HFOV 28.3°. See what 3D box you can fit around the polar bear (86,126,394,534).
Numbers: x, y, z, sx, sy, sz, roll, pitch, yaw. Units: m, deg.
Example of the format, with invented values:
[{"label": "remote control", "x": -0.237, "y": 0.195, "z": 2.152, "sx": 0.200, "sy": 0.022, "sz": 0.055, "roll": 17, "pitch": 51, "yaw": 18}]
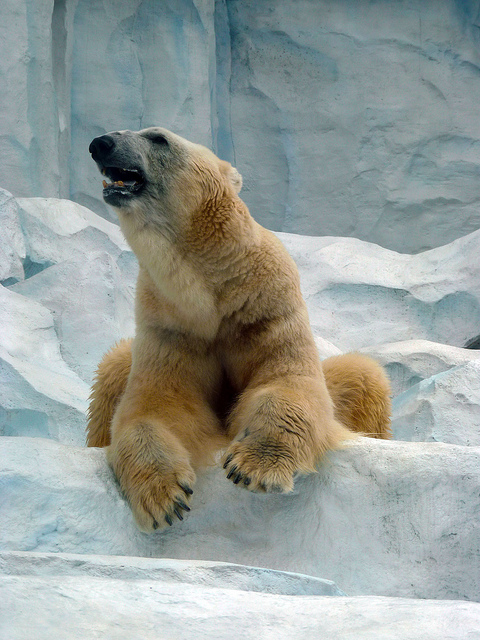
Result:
[{"label": "polar bear", "x": -0.046, "y": -0.012, "z": 2.986, "sx": 0.852, "sy": 1.174, "sz": 0.900, "roll": 3, "pitch": 10, "yaw": -16}]
